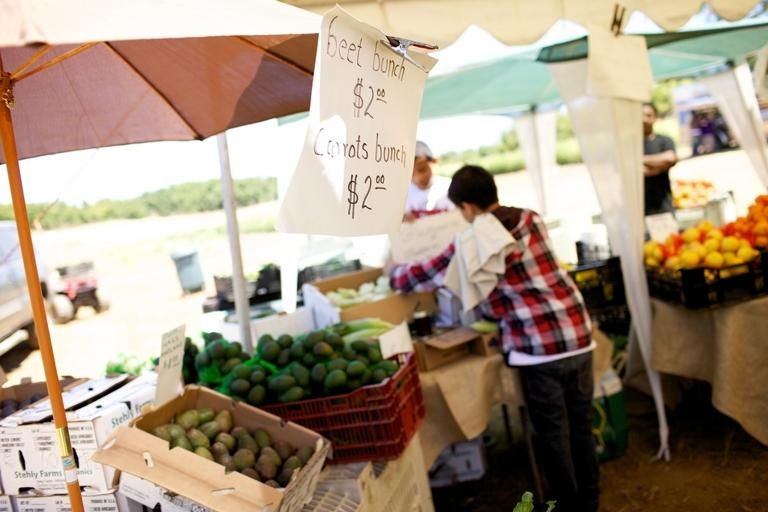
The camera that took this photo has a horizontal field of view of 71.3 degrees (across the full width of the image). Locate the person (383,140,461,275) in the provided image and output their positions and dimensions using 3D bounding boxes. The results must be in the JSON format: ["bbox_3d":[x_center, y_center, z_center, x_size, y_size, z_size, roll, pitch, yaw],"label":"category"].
[{"bbox_3d":[0.332,-0.457,4.362,0.588,1.099,0.494,0,33,4],"label":"person"}]

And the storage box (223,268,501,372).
[{"bbox_3d":[-0.069,0.412,3.674,0.881,0.282,0.905,-8,14,-27],"label":"storage box"}]

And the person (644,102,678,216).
[{"bbox_3d":[2.363,-0.826,4.630,0.473,0.946,0.257,-14,5,-39],"label":"person"}]

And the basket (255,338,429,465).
[{"bbox_3d":[-0.119,0.614,2.738,0.798,0.490,0.533,-3,9,13],"label":"basket"}]
